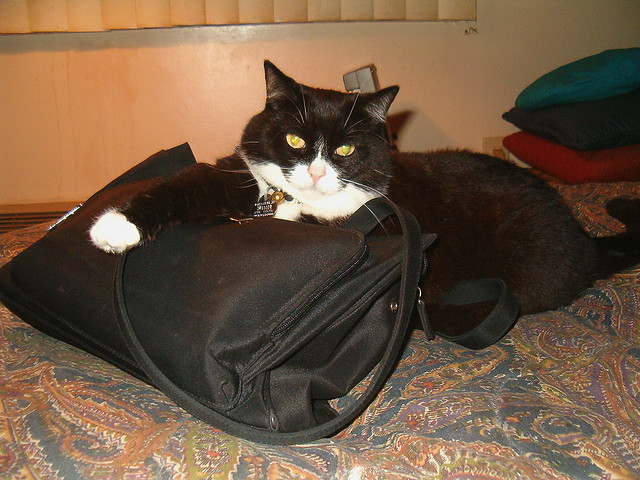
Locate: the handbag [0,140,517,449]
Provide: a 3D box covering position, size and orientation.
[{"bbox_3d":[-0.125,0.119,1.273,0.667,0.259,0.766,28,45,26],"label":"handbag"}]
